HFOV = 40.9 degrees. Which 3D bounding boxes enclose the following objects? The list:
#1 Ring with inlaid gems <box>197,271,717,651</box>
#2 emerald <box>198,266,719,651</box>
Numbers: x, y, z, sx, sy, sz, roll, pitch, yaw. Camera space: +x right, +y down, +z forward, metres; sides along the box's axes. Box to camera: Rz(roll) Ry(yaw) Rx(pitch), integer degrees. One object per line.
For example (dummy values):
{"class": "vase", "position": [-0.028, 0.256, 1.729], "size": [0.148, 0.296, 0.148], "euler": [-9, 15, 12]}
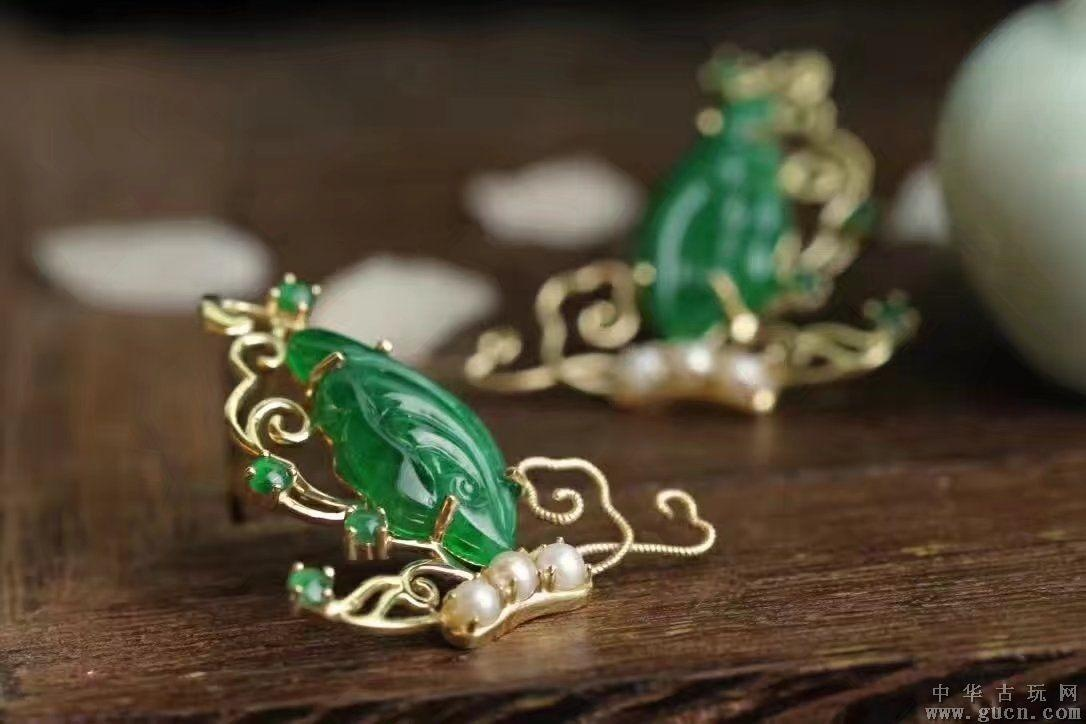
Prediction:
{"class": "Ring with inlaid gems", "position": [-0.114, 0.050, 0.974], "size": [0.257, 0.062, 0.354], "euler": [-28, 58, -32]}
{"class": "emerald", "position": [-0.116, 0.049, 0.986], "size": [0.289, 0.066, 0.369], "euler": [-27, 55, -34]}
